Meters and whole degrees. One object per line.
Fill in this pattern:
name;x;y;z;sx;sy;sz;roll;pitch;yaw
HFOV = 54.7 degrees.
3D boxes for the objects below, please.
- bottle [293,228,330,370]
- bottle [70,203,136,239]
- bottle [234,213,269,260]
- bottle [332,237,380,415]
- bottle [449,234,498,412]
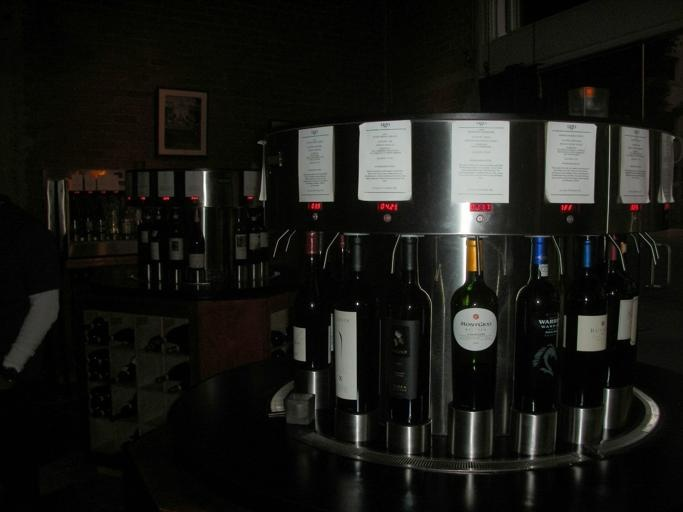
bottle;-0.086;0.140;1.944;0.119;0.378;0.274;-1;-14;-4
bottle;-2.031;-0.281;5.665;0.501;0.260;0.322;-6;26;-24
bottle;-0.563;-0.122;4.154;0.226;0.328;0.156;4;-16;-20
bottle;0.041;0.186;1.790;0.121;0.469;0.140;-2;-15;0
bottle;0.347;0.189;1.741;0.135;0.430;0.236;-4;-15;8
